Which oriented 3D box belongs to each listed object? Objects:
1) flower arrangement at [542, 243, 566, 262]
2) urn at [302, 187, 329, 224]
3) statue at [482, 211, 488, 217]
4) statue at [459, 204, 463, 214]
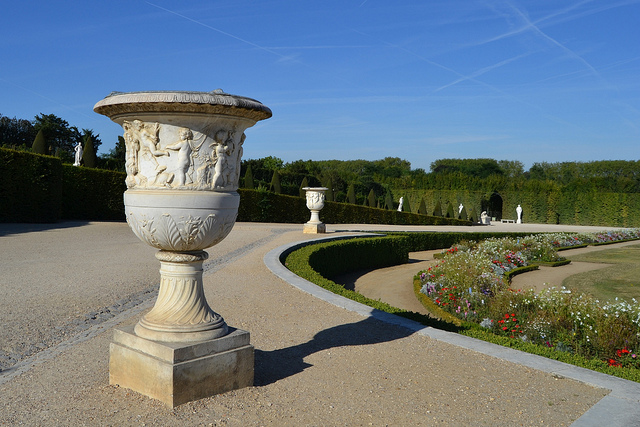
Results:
[{"bbox_3d":[8.587,1.543,17.075,0.750,0.399,0.752,14,24,30],"label":"flower arrangement"},{"bbox_3d":[-0.200,-0.318,17.646,0.707,1.380,0.730,1,7,-5],"label":"urn"},{"bbox_3d":[16.379,0.016,45.892,0.550,0.621,0.564,4,28,37],"label":"statue"},{"bbox_3d":[13.539,-0.494,44.190,0.179,0.666,1.087,5,7,22],"label":"statue"}]
